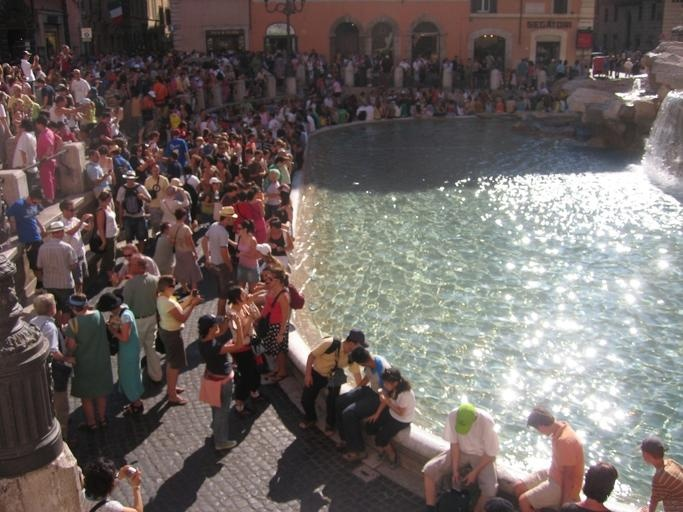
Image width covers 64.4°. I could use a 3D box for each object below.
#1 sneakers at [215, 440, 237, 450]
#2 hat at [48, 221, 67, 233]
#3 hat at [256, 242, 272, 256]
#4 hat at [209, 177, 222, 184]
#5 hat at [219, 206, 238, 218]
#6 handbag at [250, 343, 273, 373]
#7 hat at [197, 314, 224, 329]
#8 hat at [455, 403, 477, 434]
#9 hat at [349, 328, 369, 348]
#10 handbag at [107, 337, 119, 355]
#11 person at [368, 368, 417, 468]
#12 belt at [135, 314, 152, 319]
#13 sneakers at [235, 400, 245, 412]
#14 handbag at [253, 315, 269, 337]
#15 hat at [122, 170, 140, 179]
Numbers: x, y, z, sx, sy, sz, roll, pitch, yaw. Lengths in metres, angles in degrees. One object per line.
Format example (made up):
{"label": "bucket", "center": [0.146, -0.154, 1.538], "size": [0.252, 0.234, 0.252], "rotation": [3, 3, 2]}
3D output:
{"label": "sneakers", "center": [-1.468, 2.407, 6.903], "size": [0.249, 0.176, 0.103], "rotation": [-8, 41, -14]}
{"label": "hat", "center": [-4.573, -0.470, 8.746], "size": [0.216, 0.232, 0.384], "rotation": [-7, 17, -27]}
{"label": "hat", "center": [-1.348, -0.116, 9.404], "size": [0.248, 0.195, 0.318], "rotation": [-3, 16, -12]}
{"label": "hat", "center": [-2.890, -1.696, 12.396], "size": [0.248, 0.140, 0.182], "rotation": [-8, 11, 33]}
{"label": "hat", "center": [-2.068, -0.798, 9.955], "size": [0.264, 0.297, 0.609], "rotation": [-2, 16, -8]}
{"label": "handbag", "center": [-1.253, 1.543, 8.469], "size": [0.244, 0.645, 0.409], "rotation": [-1, 15, -5]}
{"label": "hat", "center": [-1.646, 0.877, 6.837], "size": [0.248, 0.174, 0.341], "rotation": [-7, 8, 3]}
{"label": "hat", "center": [1.325, 1.736, 5.798], "size": [0.205, 0.247, 0.221], "rotation": [4, 15, 12]}
{"label": "hat", "center": [0.217, 1.045, 6.978], "size": [0.259, 0.254, 0.284], "rotation": [3, 15, 10]}
{"label": "handbag", "center": [-3.039, 1.179, 7.199], "size": [0.119, 0.244, 0.165], "rotation": [4, 22, 3]}
{"label": "person", "center": [0.582, 1.921, 6.706], "size": [0.562, 1.204, 0.316], "rotation": [7, 16, 23]}
{"label": "belt", "center": [-2.847, 0.869, 7.831], "size": [0.212, 0.058, 0.027], "rotation": [-8, 17, -29]}
{"label": "sneakers", "center": [-1.423, 2.106, 7.615], "size": [0.145, 0.210, 0.104], "rotation": [0, -3, -10]}
{"label": "handbag", "center": [-1.211, 1.063, 8.220], "size": [0.228, 0.354, 0.176], "rotation": [11, 16, -4]}
{"label": "hat", "center": [-4.644, -1.807, 11.931], "size": [0.328, 0.121, 0.304], "rotation": [11, 12, -42]}
